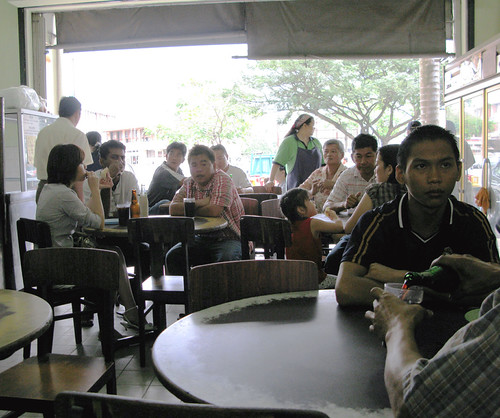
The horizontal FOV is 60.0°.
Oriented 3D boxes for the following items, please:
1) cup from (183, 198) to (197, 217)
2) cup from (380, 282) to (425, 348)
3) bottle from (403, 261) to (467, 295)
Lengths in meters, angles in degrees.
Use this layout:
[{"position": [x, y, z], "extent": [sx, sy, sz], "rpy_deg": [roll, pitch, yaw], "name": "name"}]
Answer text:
[{"position": [-0.432, -0.010, 3.157], "extent": [0.114, 0.180, 0.114], "rpy_deg": [-1, -6, 0], "name": "cup"}, {"position": [0.397, 0.299, 1.200], "extent": [0.132, 0.106, 0.118], "rpy_deg": [-1, 8, -5], "name": "cup"}, {"position": [0.560, 0.213, 1.297], "extent": [0.155, 0.082, 0.093], "rpy_deg": [2, 6, -28], "name": "bottle"}]
